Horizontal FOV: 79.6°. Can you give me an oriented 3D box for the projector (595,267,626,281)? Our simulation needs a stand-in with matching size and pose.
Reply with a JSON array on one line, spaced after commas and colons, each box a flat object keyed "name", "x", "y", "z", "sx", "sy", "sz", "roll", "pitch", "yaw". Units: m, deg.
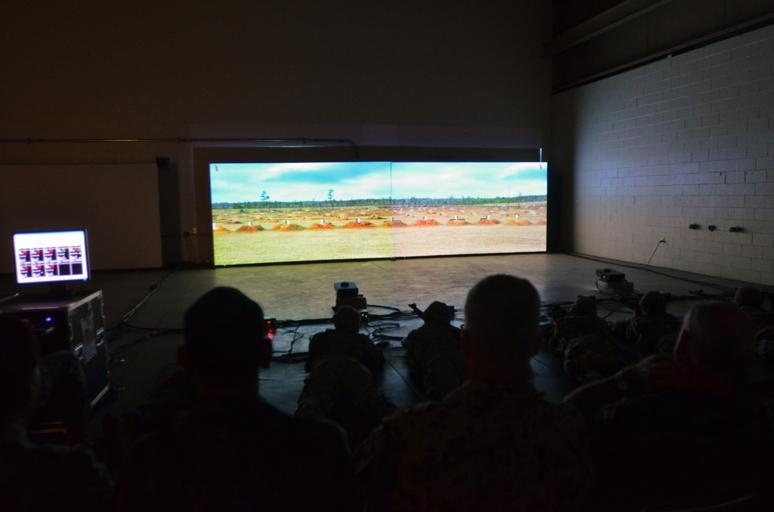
[{"name": "projector", "x": 3.461, "y": 0.310, "z": 7.128, "sx": 0.282, "sy": 0.110, "sz": 0.314, "roll": -1, "pitch": 5, "yaw": -4}]
